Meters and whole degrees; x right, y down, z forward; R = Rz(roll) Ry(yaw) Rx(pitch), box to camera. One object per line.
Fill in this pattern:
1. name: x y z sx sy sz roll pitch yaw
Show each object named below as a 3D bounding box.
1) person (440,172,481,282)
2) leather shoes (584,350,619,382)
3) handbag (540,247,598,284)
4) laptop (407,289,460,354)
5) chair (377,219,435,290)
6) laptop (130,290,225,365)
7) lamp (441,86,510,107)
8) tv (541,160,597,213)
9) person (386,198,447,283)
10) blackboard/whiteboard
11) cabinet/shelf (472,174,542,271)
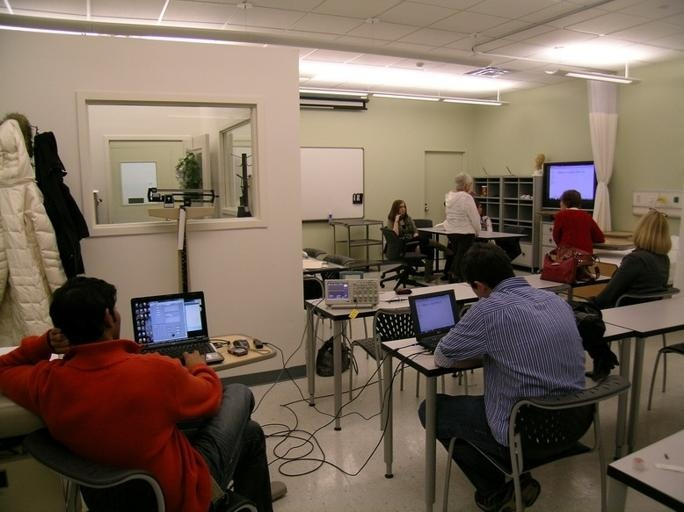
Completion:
1. person: 1.953 -0.449 8.181 0.561 1.788 0.648 -13 23 -17
2. leather shoes: 1.644 0.663 3.214 0.156 0.223 0.075 20 1 -2
3. handbag: 2.221 0.097 4.927 0.374 0.301 0.423 -4 8 -32
4. laptop: 0.621 0.396 3.386 0.407 0.373 0.313 -9 13 -32
5. chair: 1.107 -0.005 8.256 0.864 1.191 1.054 -5 10 -14
6. laptop: -1.074 0.417 3.186 0.485 0.380 0.438 -3 8 -27
7. lamp: 2.613 -3.054 9.907 1.088 0.349 2.768 2 12 16
8. tv: 3.855 -1.167 8.502 0.576 1.031 1.146 -1 2 -26
9. person: 1.156 -0.370 8.635 1.111 1.588 1.276 1 10 21
10. blackboard/whiteboard: -0.246 -1.401 9.758 1.701 1.548 0.064 -2 4 -29
11. cabinet/shelf: 2.788 -0.573 8.301 0.503 1.964 1.677 -3 6 -25
